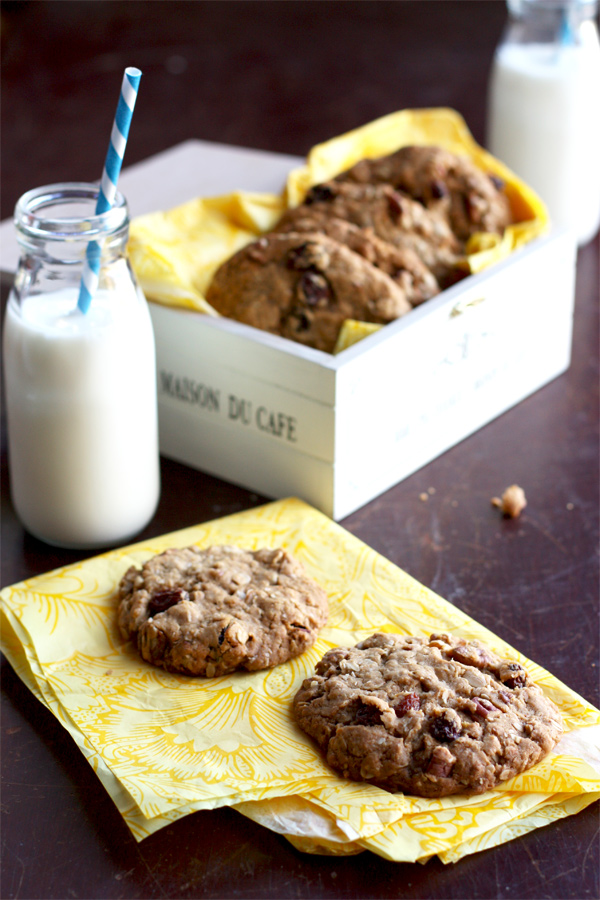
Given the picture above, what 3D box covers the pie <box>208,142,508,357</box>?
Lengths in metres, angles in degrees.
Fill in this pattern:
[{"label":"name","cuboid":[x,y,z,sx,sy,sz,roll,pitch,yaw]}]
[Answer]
[{"label":"pie","cuboid":[0.067,-0.166,0.921,0.297,0.091,0.170,-28,67,-14]}]
